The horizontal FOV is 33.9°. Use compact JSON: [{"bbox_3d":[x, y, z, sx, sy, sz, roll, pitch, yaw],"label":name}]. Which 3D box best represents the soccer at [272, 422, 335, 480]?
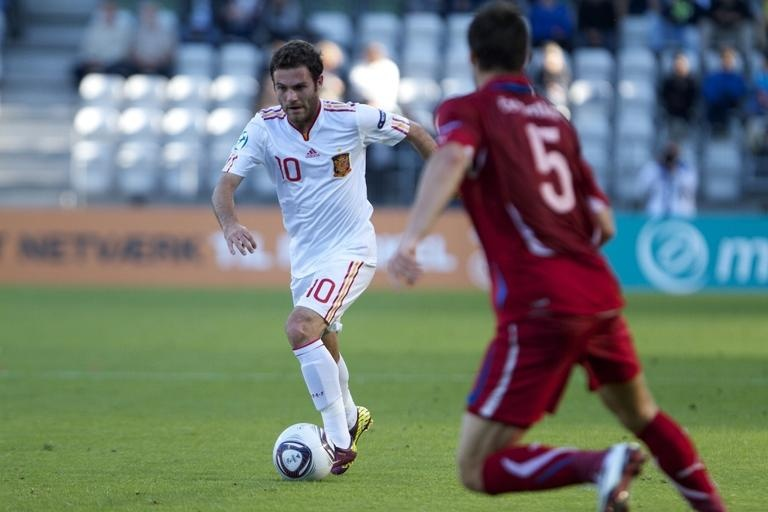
[{"bbox_3d":[-0.749,1.918,12.225,0.636,0.614,0.653,-2,2,12],"label":"soccer"}]
